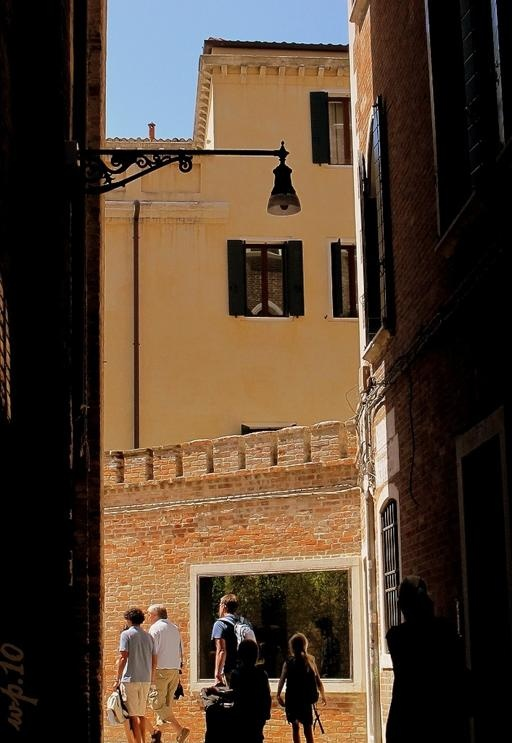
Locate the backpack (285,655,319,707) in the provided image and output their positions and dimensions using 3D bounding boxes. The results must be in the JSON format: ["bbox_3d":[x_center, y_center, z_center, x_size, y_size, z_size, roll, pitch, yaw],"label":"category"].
[{"bbox_3d":[0.405,2.756,13.147,0.254,0.488,0.234,-8,-36,4],"label":"backpack"}]

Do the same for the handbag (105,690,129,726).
[{"bbox_3d":[-1.256,3.024,13.562,0.184,0.295,0.497,1,-18,-6],"label":"handbag"}]
